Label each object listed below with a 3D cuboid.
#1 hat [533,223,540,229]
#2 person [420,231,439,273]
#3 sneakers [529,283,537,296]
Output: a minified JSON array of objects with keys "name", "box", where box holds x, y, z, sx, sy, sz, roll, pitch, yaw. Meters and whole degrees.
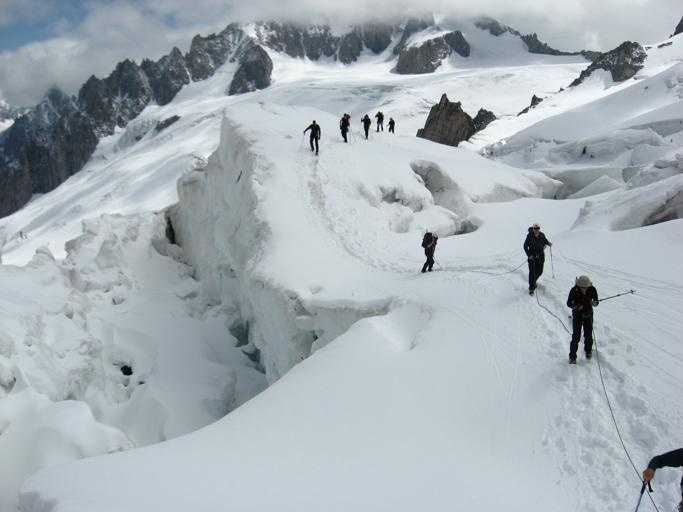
[{"name":"hat","box":[7.507,-1.204,24.645,0.291,0.503,0.277,0,83,15]},{"name":"person","box":[3.791,-0.003,27.707,0.553,2.001,1.265,4,56,9]},{"name":"sneakers","box":[7.479,1.273,24.956,0.169,0.239,0.543,-2,32,25]}]
